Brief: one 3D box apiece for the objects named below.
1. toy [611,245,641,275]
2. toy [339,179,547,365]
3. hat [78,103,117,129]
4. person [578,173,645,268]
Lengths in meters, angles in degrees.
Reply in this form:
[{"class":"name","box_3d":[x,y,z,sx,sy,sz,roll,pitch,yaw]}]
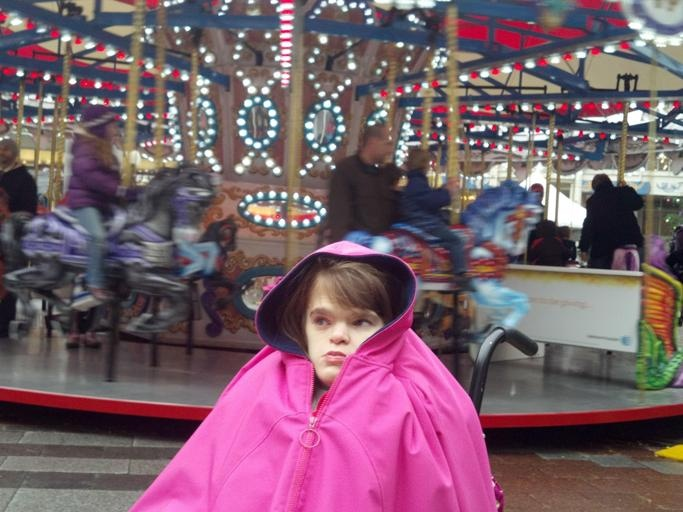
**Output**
[{"class":"toy","box_3d":[3.319,0.052,7.857,0.336,0.384,0.220,1,-9,5]},{"class":"toy","box_3d":[1.008,-0.023,5.922,0.539,1.273,1.939,-12,11,-39]},{"class":"hat","box_3d":[-2.000,-1.149,5.553,0.272,0.209,0.195,2,2,-17]},{"class":"person","box_3d":[3.378,-0.434,8.355,0.642,0.839,0.629,3,2,10]}]
